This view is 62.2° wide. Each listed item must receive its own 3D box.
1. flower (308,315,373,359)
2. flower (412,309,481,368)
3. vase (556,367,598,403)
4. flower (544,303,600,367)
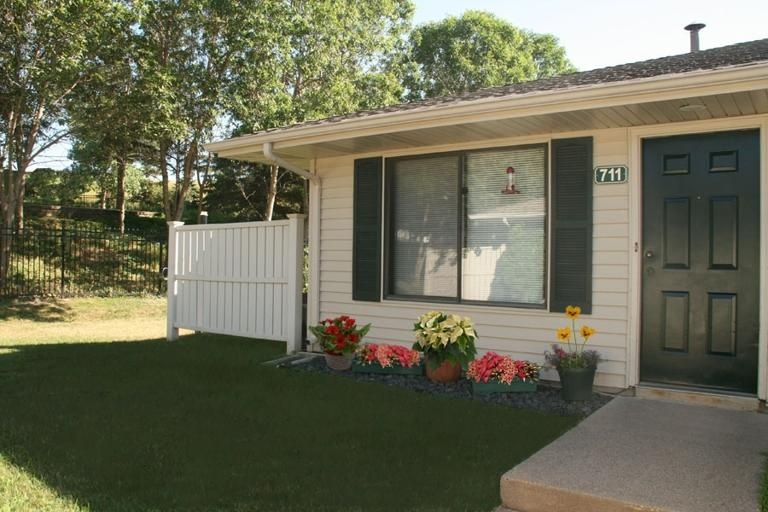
[{"bbox_3d":[-0.727,1.188,9.627,0.880,0.542,0.770,-4,0,-16],"label":"flower"},{"bbox_3d":[0.852,1.177,8.813,0.801,0.520,0.799,3,3,17],"label":"flower"},{"bbox_3d":[2.627,1.648,8.318,0.476,0.361,0.458,-20,-27,35],"label":"vase"},{"bbox_3d":[2.524,1.126,8.427,0.701,0.850,0.614,2,12,15],"label":"flower"}]
